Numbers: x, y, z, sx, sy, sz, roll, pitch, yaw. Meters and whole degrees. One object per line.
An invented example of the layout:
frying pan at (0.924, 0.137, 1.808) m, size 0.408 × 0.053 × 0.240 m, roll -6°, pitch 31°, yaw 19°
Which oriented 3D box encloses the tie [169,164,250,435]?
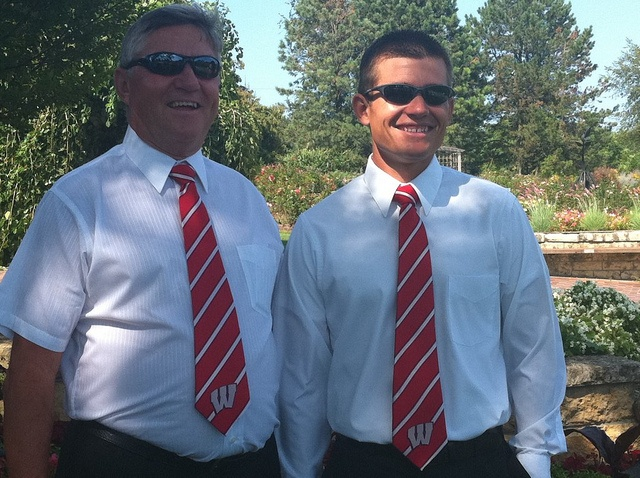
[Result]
tie at (-0.478, 0.293, 3.372) m, size 0.262 × 1.483 × 0.093 m, roll 1°, pitch 29°, yaw 3°
